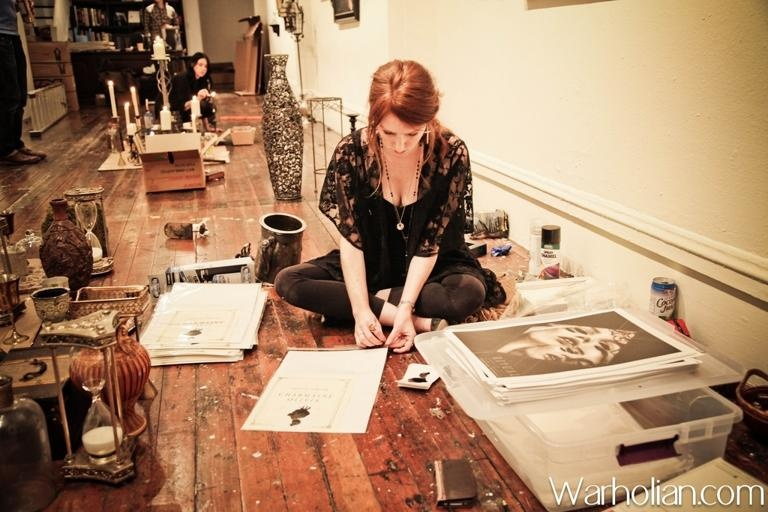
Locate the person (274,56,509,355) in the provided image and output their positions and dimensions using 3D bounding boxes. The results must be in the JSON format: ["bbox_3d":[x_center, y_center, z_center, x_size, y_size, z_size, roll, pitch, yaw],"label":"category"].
[{"bbox_3d":[0.038,-0.206,1.934,0.744,1.022,0.666,22,32,36],"label":"person"}]

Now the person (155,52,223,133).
[{"bbox_3d":[-2.490,-2.022,6.516,0.779,1.142,0.544,15,22,25],"label":"person"}]

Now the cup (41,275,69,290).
[{"bbox_3d":[-1.350,0.110,2.047,0.058,0.040,0.052,-2,14,-19],"label":"cup"}]

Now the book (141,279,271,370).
[{"bbox_3d":[-0.720,0.259,1.965,0.345,0.068,0.318,-4,32,1],"label":"book"}]

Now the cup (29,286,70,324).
[{"bbox_3d":[-1.204,0.198,1.809,0.109,0.099,0.107,-3,4,0],"label":"cup"}]

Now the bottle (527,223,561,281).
[{"bbox_3d":[0.717,-0.039,2.257,0.119,0.248,0.360,6,24,8],"label":"bottle"}]

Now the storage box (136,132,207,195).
[{"bbox_3d":[-1.701,-0.707,4.106,0.476,0.429,0.434,-6,-5,-7],"label":"storage box"}]
